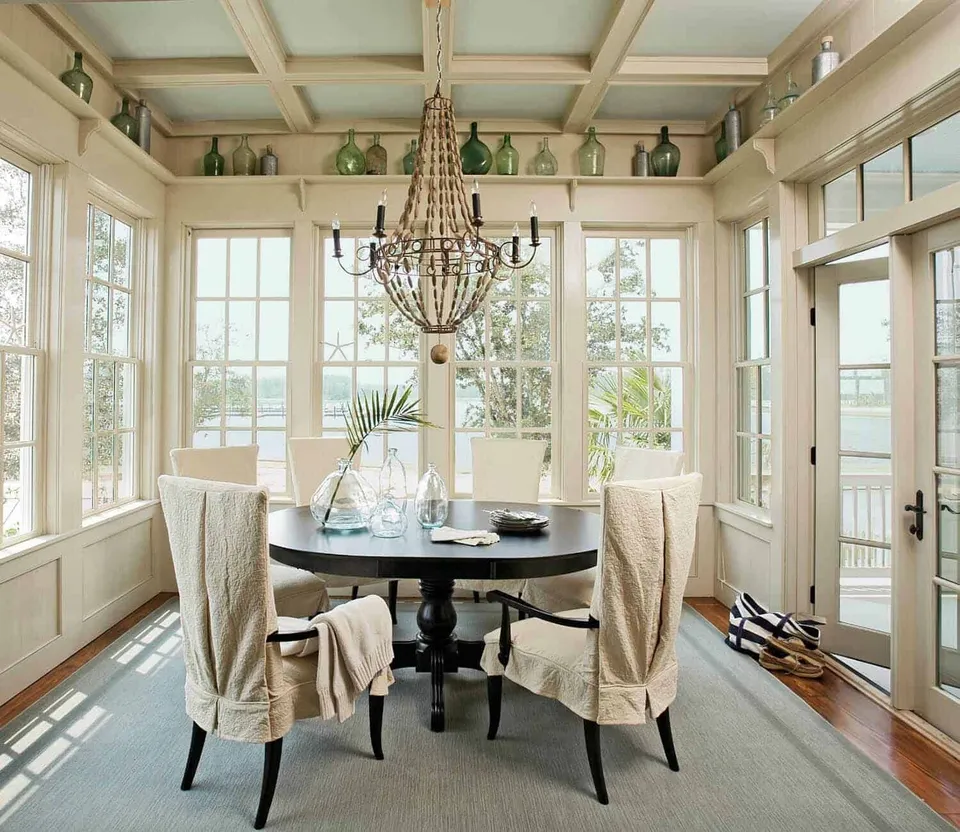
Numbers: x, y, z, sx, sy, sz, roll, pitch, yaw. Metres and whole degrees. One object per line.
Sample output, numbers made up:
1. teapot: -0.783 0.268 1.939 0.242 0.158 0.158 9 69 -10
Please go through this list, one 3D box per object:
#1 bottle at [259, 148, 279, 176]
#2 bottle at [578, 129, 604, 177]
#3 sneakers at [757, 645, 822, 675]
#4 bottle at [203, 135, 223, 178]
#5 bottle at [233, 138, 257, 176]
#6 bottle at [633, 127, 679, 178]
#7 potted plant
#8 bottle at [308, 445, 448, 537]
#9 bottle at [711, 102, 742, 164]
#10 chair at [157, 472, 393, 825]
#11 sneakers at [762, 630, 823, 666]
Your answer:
1. bottle: -1.428 -1.720 5.130 0.125 0.208 0.186 -2 9 -14
2. bottle: 0.763 -1.767 5.128 0.197 0.331 0.198 0 8 0
3. sneakers: 1.614 1.246 3.932 0.273 0.106 0.130 4 8 22
4. bottle: -1.788 -1.743 5.101 0.119 0.287 0.134 -3 9 -21
5. bottle: -1.594 -1.750 5.143 0.157 0.252 0.165 0 8 0
6. bottle: 1.189 -1.803 5.156 0.285 0.349 0.163 4 11 20
7. potted plant: -0.590 0.248 4.403 0.664 0.877 0.450 5 3 27
8. bottle: -0.480 0.374 3.694 0.577 0.401 0.376 2 -8 -3
9. bottle: 1.593 -1.803 4.832 0.144 0.356 0.324 1 8 8
10. chair: -0.771 0.838 2.917 0.843 1.228 0.493 -2 9 -18
11. sneakers: 1.624 1.245 3.956 0.221 0.089 0.169 5 33 38
